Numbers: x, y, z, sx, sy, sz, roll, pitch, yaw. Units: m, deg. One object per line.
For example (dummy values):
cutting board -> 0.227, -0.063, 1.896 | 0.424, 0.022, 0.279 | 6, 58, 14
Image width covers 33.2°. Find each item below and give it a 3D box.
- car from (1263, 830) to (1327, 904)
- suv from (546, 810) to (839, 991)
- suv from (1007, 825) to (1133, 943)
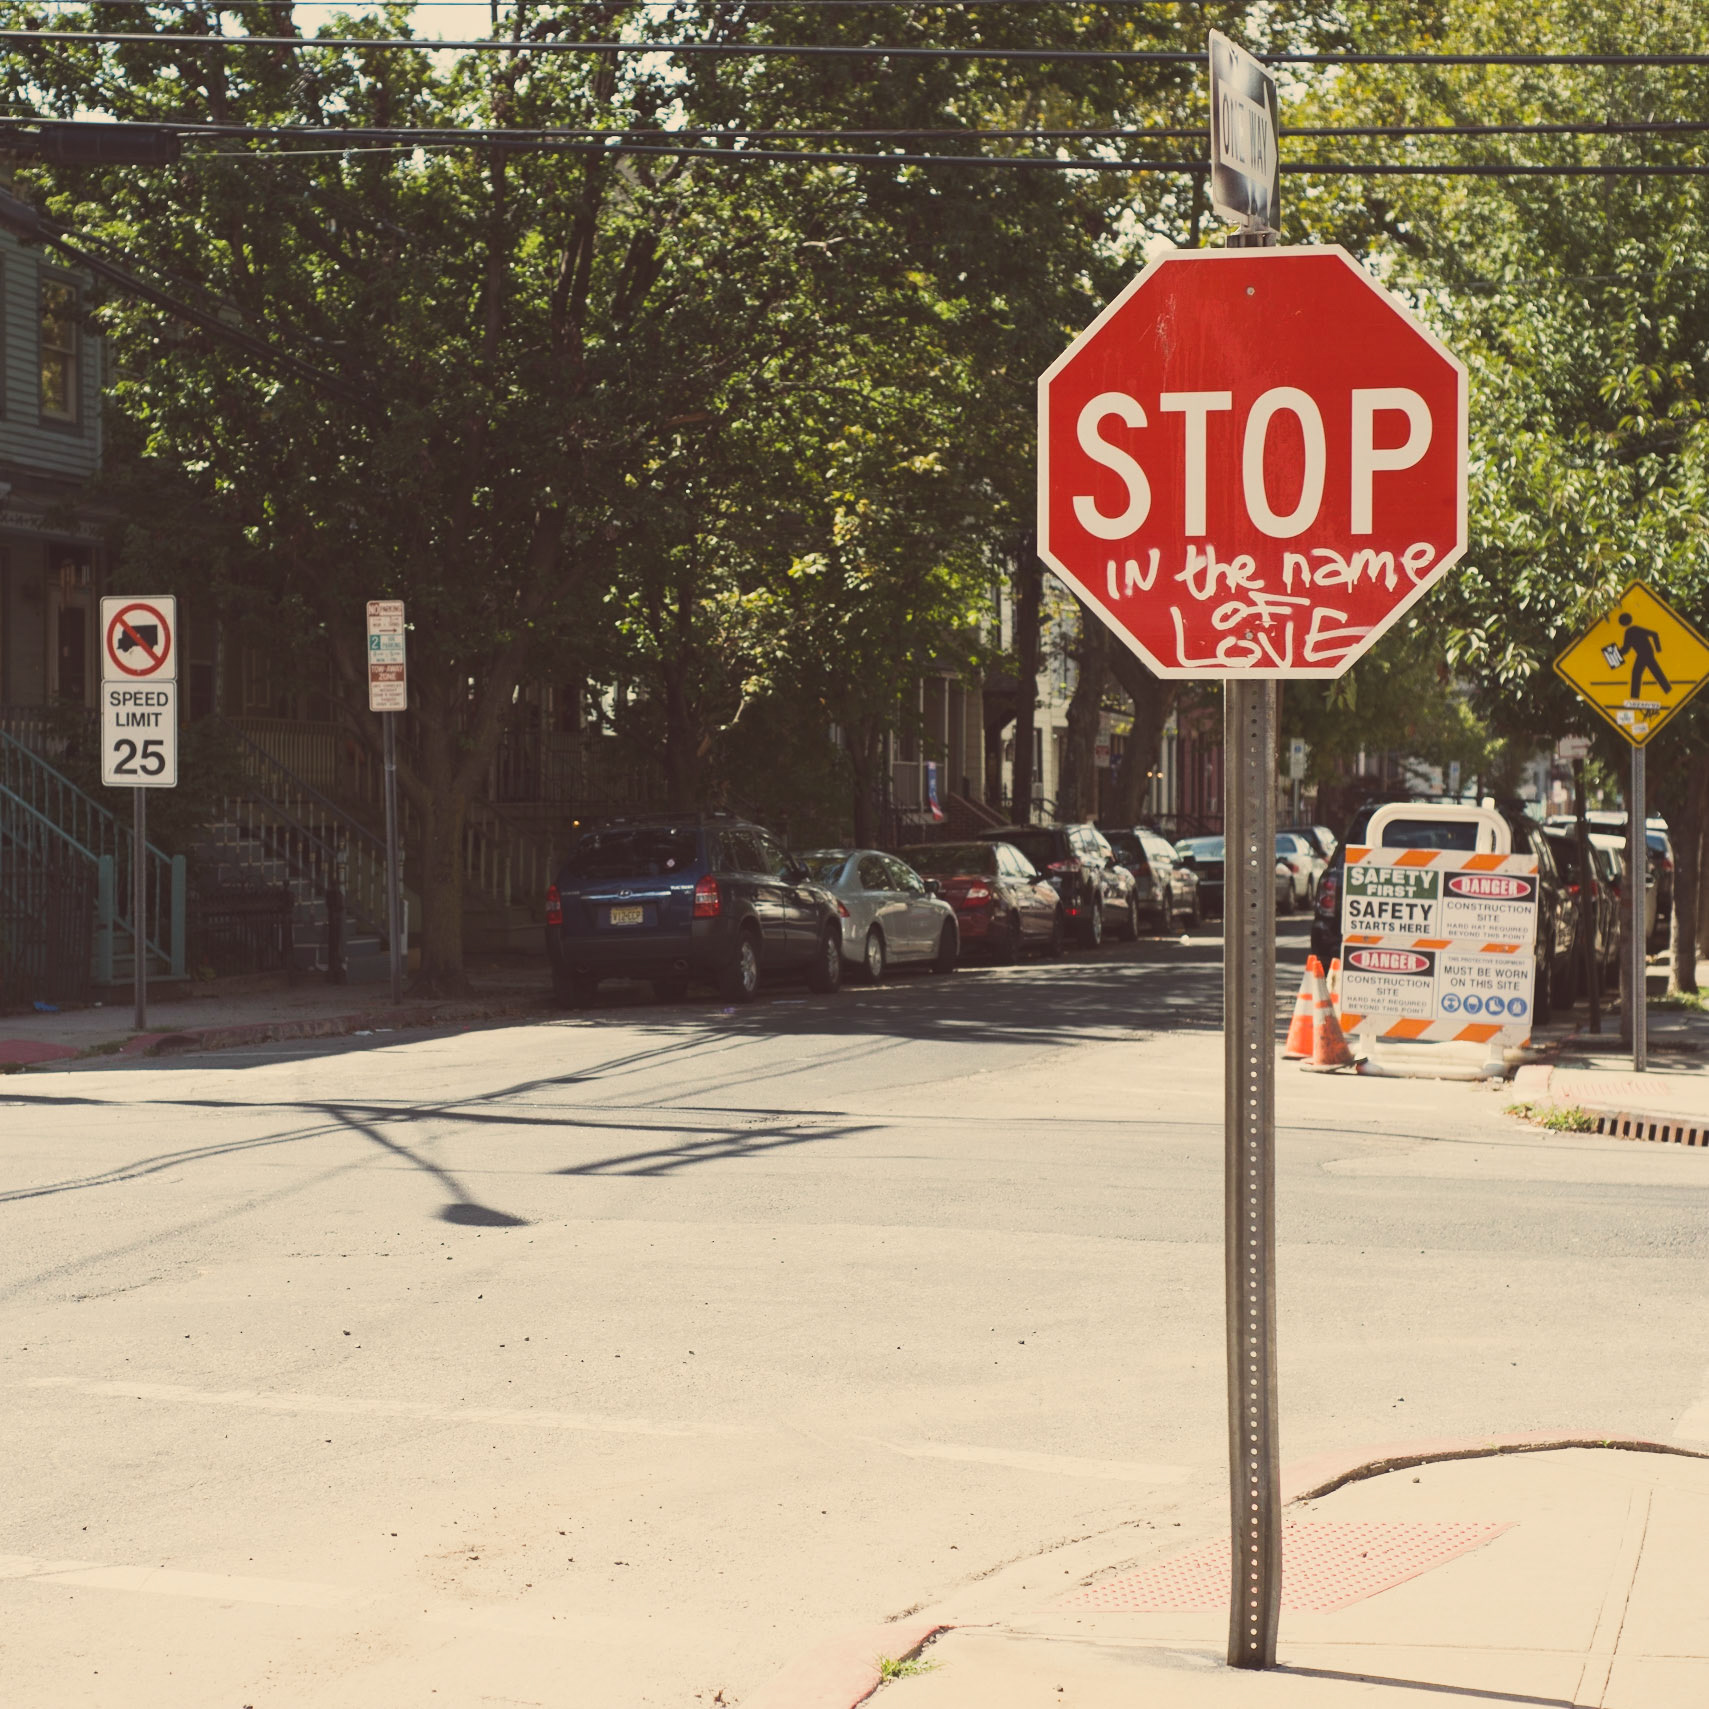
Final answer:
car -> 5.672, 0.141, 36.937 | 0.835, 0.913, 2.081 | 0, 6, 18
suv -> -1.203, 0.404, 25.099 | 1.092, 1.277, 2.686 | -1, 2, 21
suv -> 2.747, 0.277, 35.808 | 0.811, 0.925, 2.160 | -1, 3, 17
